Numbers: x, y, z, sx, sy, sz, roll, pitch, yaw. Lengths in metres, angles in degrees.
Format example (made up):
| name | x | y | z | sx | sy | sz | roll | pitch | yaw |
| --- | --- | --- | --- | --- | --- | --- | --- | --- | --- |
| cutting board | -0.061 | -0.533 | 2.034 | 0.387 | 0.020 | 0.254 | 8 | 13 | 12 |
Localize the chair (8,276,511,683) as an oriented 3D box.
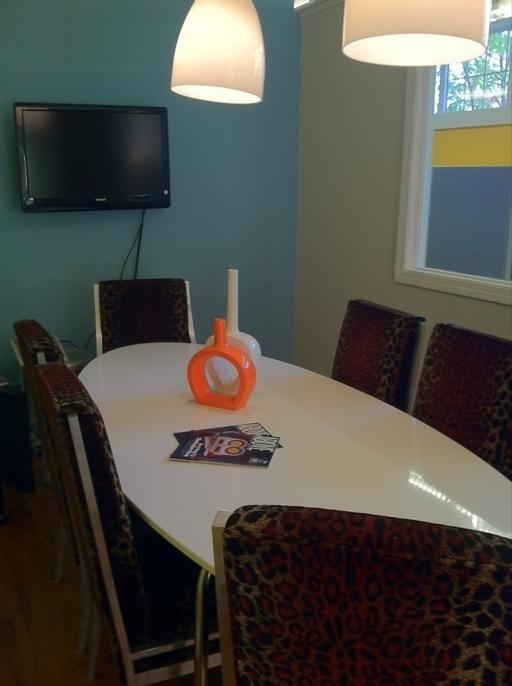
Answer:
| name | x | y | z | sx | sy | sz | roll | pitch | yaw |
| --- | --- | --- | --- | --- | --- | --- | --- | --- | --- |
| chair | -0.324 | 0.349 | 2.045 | 1.319 | 1.010 | 1.943 | -12 | 17 | -38 |
